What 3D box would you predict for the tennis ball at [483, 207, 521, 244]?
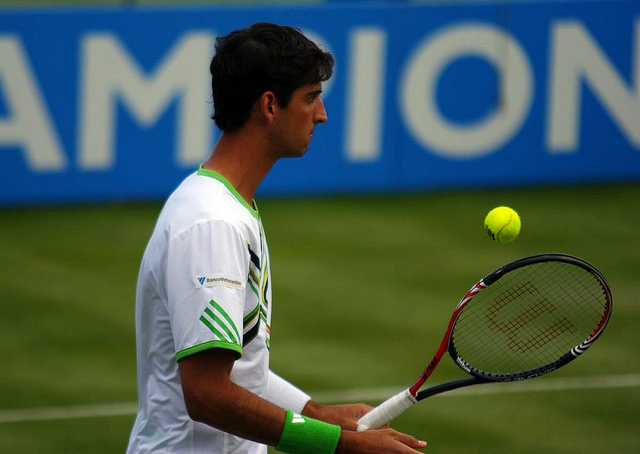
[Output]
[{"bbox_3d":[1.386,-0.020,7.165,0.237,0.271,0.254,0,6,0],"label":"tennis ball"}]
